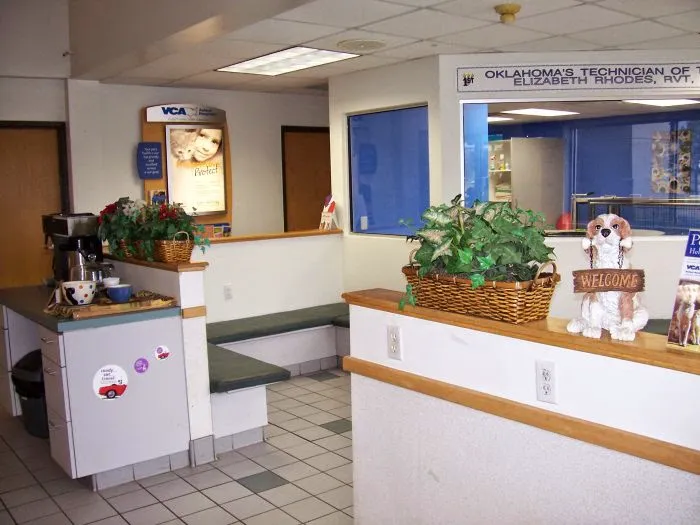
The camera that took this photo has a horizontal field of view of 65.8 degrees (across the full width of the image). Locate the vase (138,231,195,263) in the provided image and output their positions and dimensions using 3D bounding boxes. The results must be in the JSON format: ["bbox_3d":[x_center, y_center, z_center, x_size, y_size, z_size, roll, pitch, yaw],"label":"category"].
[{"bbox_3d":[-1.409,-0.106,4.072,0.385,0.231,0.185,1,8,11],"label":"vase"}]

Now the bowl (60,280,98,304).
[{"bbox_3d":[-1.916,0.210,3.806,0.186,0.114,0.184,0,-1,0],"label":"bowl"}]

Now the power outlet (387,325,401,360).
[{"bbox_3d":[0.201,0.369,2.492,0.007,0.159,0.089,-8,11,-41],"label":"power outlet"}]

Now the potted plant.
[{"bbox_3d":[0.567,0.014,2.256,0.425,0.393,0.660,2,2,-37],"label":"potted plant"}]

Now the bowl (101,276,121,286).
[{"bbox_3d":[-1.782,0.150,4.000,0.086,0.043,0.101,-2,-3,-3],"label":"bowl"}]

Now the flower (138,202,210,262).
[{"bbox_3d":[-1.392,-0.251,4.224,0.470,0.427,0.626,-3,10,-22],"label":"flower"}]

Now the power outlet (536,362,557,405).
[{"bbox_3d":[0.723,0.438,1.982,0.011,0.155,0.078,-9,11,-43],"label":"power outlet"}]

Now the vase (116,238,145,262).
[{"bbox_3d":[-1.826,-0.084,4.438,0.251,0.114,0.216,3,6,10],"label":"vase"}]

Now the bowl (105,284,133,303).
[{"bbox_3d":[-1.666,0.222,3.867,0.144,0.083,0.141,-1,6,0],"label":"bowl"}]

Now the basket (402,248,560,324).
[{"bbox_3d":[0.523,0.067,2.236,0.574,0.210,0.279,8,10,44],"label":"basket"}]
